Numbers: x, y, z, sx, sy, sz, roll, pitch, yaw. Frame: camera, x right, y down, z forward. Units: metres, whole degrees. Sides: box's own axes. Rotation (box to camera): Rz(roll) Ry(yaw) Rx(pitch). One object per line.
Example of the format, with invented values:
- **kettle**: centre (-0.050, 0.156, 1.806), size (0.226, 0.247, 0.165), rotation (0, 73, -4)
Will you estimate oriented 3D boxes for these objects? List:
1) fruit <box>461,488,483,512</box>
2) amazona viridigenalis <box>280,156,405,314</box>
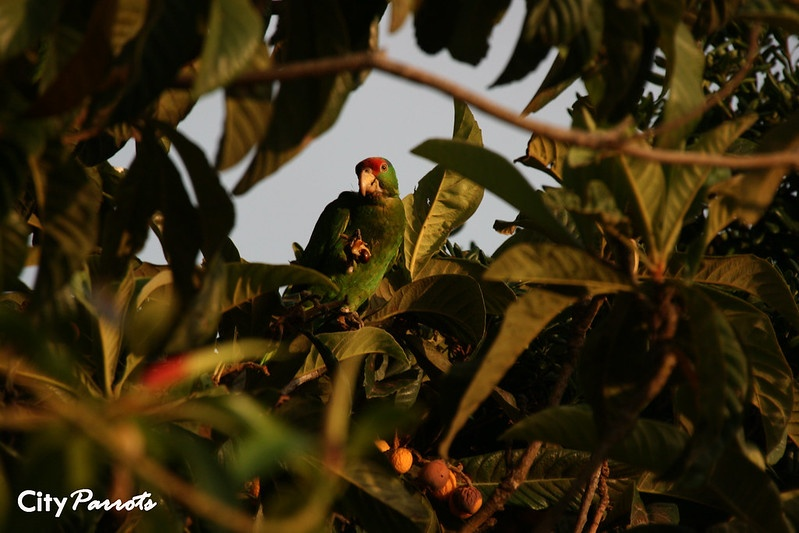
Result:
- **fruit**: centre (0.173, 0.602, 3.444), size (0.046, 0.065, 0.055), rotation (-2, -10, -10)
- **amazona viridigenalis**: centre (-0.160, -0.035, 4.664), size (0.182, 0.381, 0.401), rotation (48, 16, -12)
